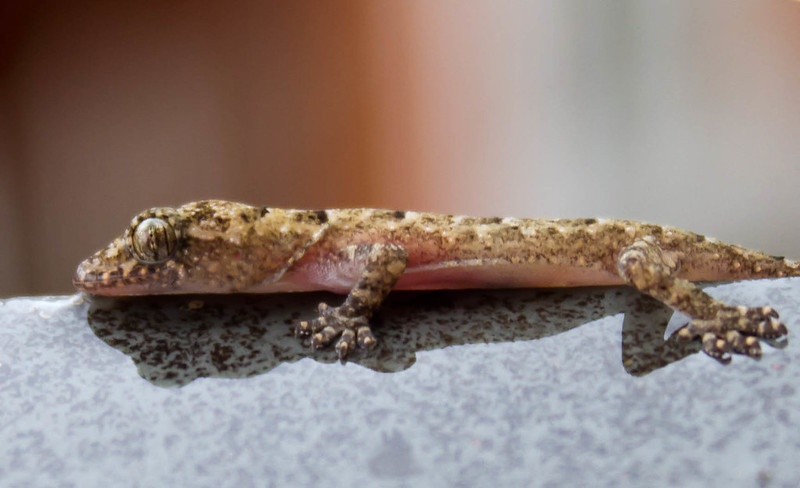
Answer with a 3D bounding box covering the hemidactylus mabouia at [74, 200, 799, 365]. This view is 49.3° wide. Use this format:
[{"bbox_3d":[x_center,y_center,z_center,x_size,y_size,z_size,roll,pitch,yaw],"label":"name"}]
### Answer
[{"bbox_3d":[0.023,0.121,4.275,3.238,0.763,0.633,-5,35,3],"label":"hemidactylus mabouia"}]
